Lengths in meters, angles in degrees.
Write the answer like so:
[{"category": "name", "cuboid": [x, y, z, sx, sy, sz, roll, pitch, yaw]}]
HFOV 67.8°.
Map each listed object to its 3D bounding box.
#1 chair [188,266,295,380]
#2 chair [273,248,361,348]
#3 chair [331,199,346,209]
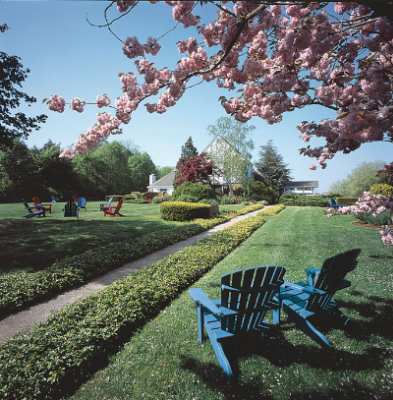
[{"category": "chair", "cuboid": [0.539, 1.332, 3.685, 1.099, 1.044, 1.236, -2, -1, -16]}, {"category": "chair", "cuboid": [1.636, 1.239, 4.193, 0.954, 1.022, 1.263, -4, 2, -32]}, {"category": "chair", "cuboid": [9.968, 0.183, 20.642, 0.781, 0.839, 0.654, -2, 6, 2]}]
